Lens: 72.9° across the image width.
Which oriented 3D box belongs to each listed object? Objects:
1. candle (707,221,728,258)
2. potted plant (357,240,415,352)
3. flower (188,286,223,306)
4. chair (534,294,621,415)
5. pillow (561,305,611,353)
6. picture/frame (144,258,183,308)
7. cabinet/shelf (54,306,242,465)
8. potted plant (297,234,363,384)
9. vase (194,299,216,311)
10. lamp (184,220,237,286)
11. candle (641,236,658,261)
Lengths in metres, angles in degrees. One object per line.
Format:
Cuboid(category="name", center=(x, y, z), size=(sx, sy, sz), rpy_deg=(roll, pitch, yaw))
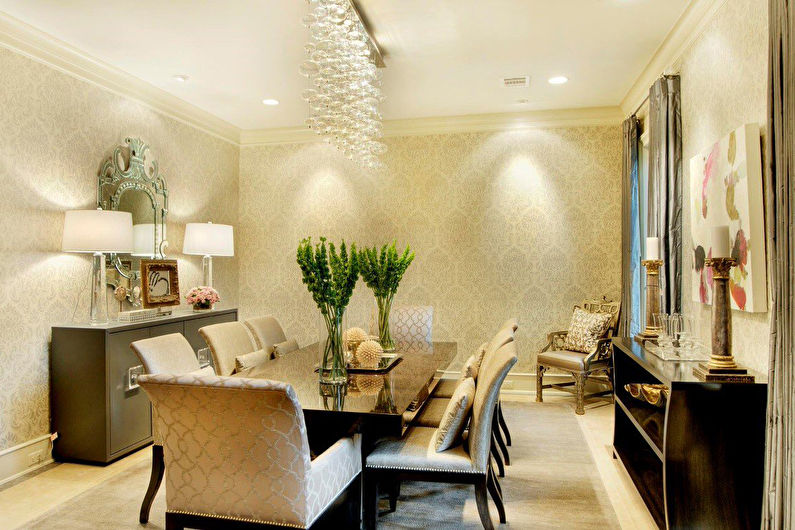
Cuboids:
Cuboid(category="candle", center=(2.225, -0.158, 3.751), size=(0.149, 0.214, 0.151), rpy_deg=(0, -2, -25))
Cuboid(category="potted plant", center=(-0.129, 0.293, 4.776), size=(0.530, 0.869, 0.465), rpy_deg=(-3, 0, -44))
Cuboid(category="flower", center=(-2.138, 0.334, 5.942), size=(0.235, 0.172, 0.229), rpy_deg=(-1, -2, 22))
Cuboid(category="chair", center=(2.048, 0.966, 6.150), size=(0.784, 1.172, 0.815), rpy_deg=(1, 1, -18))
Cuboid(category="pillow", center=(2.142, 0.750, 6.249), size=(0.277, 0.525, 0.540), rpy_deg=(1, 4, -19))
Cuboid(category="picture/frame", center=(-2.473, 0.176, 5.726), size=(0.049, 0.469, 0.517), rpy_deg=(-4, -1, 23))
Cuboid(category="cabinet/shelf", center=(-2.491, 1.095, 5.718), size=(0.567, 1.209, 1.941), rpy_deg=(3, 4, 19))
Cuboid(category="potted plant", center=(-0.603, 0.269, 4.739), size=(0.481, 0.799, 1.885), rpy_deg=(-2, 0, -10))
Cuboid(category="vase", center=(-2.137, 0.429, 5.929), size=(0.136, 0.106, 0.143), rpy_deg=(1, 0, -2))
Cuboid(category="lamp", center=(-2.194, -0.120, 6.303), size=(0.534, 0.638, 0.638), rpy_deg=(-2, 1, 10))
Cuboid(category="candle", center=(2.257, -0.148, 4.811), size=(0.108, 0.214, 0.370), rpy_deg=(-2, 1, 27))
